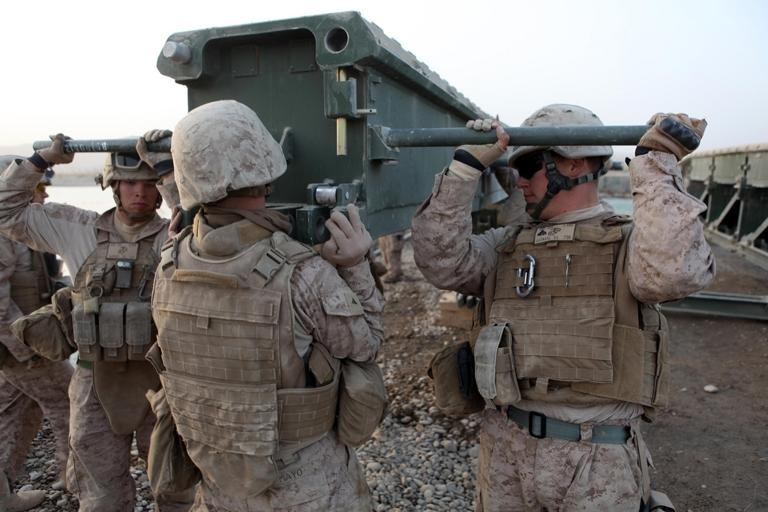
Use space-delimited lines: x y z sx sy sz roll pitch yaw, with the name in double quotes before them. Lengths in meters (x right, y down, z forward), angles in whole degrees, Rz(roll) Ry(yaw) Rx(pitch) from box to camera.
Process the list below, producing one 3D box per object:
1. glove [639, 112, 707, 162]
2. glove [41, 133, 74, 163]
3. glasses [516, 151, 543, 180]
"glove" 1.933 -0.800 4.767 0.429 0.186 0.432 21 14 -30
"glove" -2.469 -0.818 5.617 0.346 0.244 0.165 9 13 37
"glasses" 1.005 -0.635 5.083 0.127 0.215 0.113 6 2 29
